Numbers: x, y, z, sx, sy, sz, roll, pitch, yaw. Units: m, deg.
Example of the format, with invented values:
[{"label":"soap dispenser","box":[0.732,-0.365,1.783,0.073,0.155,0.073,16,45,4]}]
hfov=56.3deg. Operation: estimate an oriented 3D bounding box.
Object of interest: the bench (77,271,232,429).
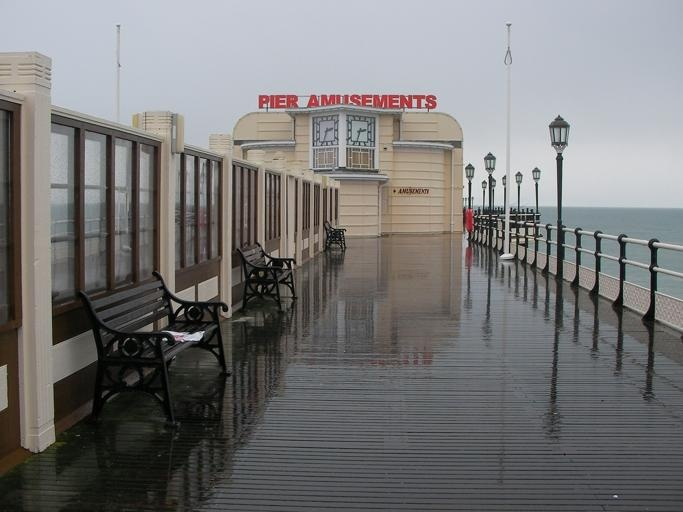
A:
[{"label":"bench","box":[-2.194,0.969,7.493,1.122,1.430,2.131,1,8,4]}]

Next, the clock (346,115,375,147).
[{"label":"clock","box":[1.144,-7.449,37.911,0.361,1.767,2.340,7,10,40]}]

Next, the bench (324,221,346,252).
[{"label":"bench","box":[-0.134,-0.947,29.216,1.190,1.737,1.217,-1,3,17]}]

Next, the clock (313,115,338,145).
[{"label":"clock","box":[-0.885,-7.504,37.665,0.204,1.975,1.849,4,-2,-44]}]
